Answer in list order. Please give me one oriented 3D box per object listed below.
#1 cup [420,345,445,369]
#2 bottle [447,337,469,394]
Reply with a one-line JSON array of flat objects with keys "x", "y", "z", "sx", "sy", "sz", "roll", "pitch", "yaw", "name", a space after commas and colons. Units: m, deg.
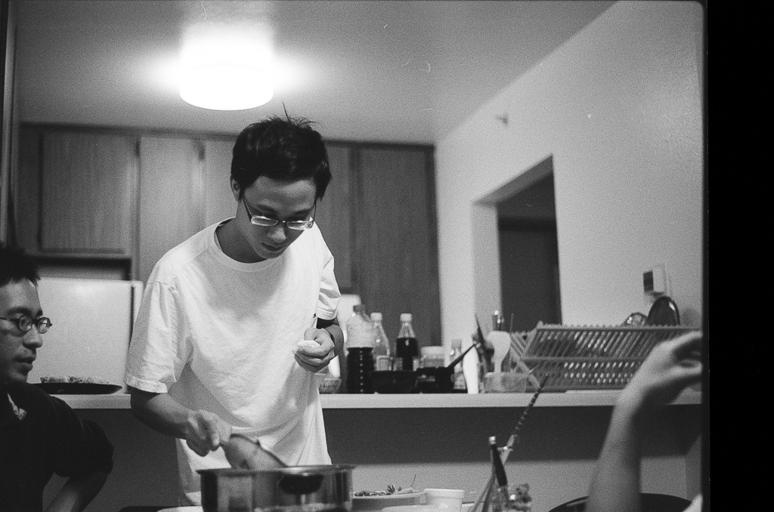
[{"x": 0.146, "y": 0.325, "z": 2.461, "sx": 0.106, "sy": 0.074, "sz": 0.059, "roll": 1, "pitch": -10, "yaw": -6, "name": "cup"}, {"x": 0.236, "y": 0.354, "z": 2.482, "sx": 0.064, "sy": 0.169, "sz": 0.018, "roll": -4, "pitch": -4, "yaw": 37, "name": "bottle"}]
